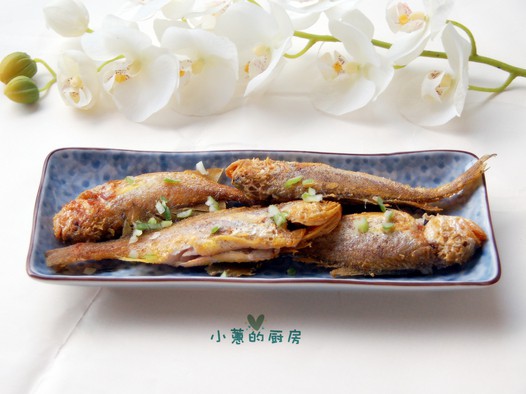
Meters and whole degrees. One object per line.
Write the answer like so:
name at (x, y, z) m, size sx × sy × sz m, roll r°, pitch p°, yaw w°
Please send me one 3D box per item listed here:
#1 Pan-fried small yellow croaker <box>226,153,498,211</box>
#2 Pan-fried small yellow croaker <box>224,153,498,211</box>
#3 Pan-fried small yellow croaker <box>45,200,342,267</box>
Pan-fried small yellow croaker at (0.509, -0.045, 2.793) m, size 1.457 × 0.423 × 0.312 m, roll 4°, pitch 14°, yaw 19°
Pan-fried small yellow croaker at (0.408, -0.151, 3.003) m, size 1.615 × 0.376 × 1.054 m, roll -3°, pitch 14°, yaw -15°
Pan-fried small yellow croaker at (-0.287, 0.259, 2.664) m, size 1.532 × 0.343 × 0.454 m, roll -10°, pitch 62°, yaw 7°
